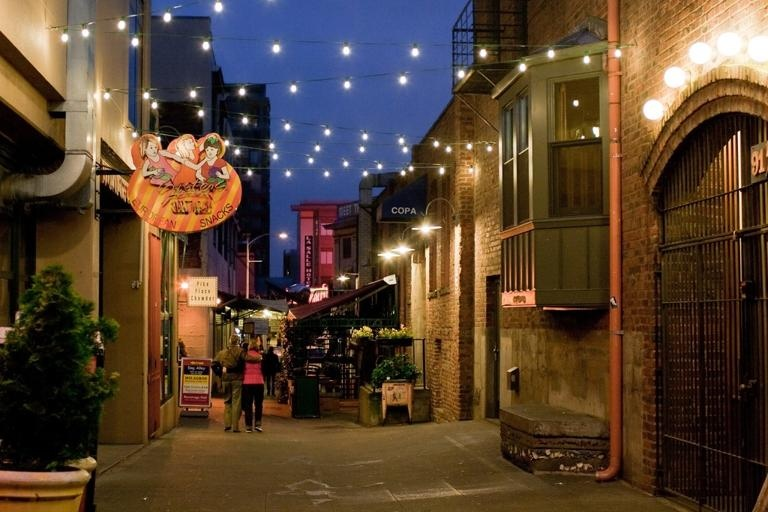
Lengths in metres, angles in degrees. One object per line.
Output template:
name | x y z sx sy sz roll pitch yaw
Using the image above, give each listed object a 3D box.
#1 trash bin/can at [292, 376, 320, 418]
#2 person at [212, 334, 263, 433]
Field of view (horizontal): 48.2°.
trash bin/can | -2.303 3.995 24.345 0.914 1.335 0.978 0 -2 -3
person | -3.420 3.022 20.520 1.046 2.278 1.313 -1 -1 -7
